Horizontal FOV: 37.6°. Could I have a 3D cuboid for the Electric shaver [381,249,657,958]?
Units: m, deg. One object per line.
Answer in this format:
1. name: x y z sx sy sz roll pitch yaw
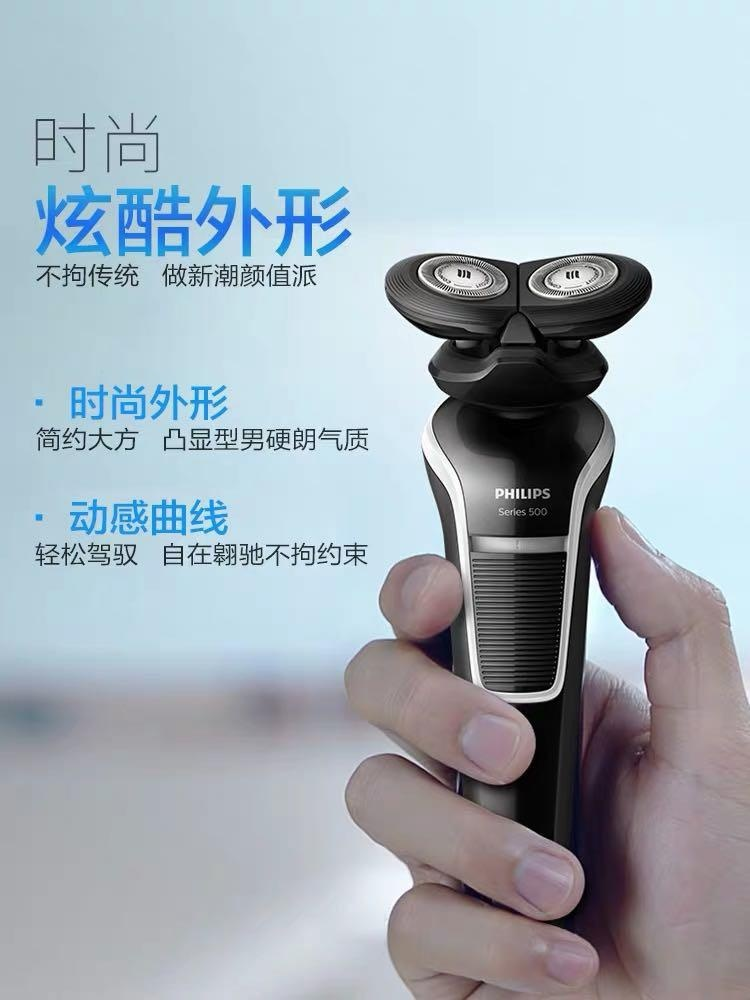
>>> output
1. Electric shaver: 0.141 0.044 0.999 0.235 0.544 0.166 -3 9 12
